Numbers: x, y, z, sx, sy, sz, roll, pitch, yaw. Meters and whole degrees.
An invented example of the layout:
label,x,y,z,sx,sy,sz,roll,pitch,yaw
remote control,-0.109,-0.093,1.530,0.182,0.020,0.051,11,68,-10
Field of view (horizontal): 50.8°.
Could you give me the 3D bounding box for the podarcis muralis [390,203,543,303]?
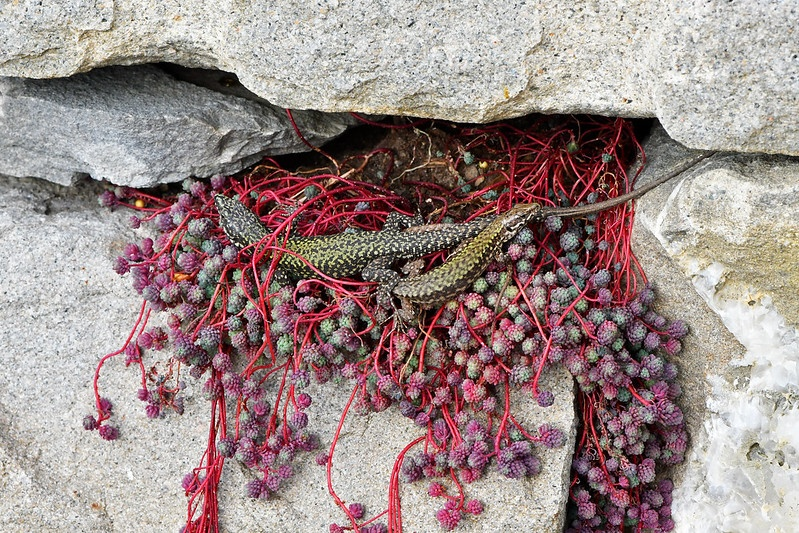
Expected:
label,x,y,z,sx,sy,sz,roll,pitch,yaw
podarcis muralis,0.418,-0.044,4.720,0.969,0.199,0.268,-33,79,-1
